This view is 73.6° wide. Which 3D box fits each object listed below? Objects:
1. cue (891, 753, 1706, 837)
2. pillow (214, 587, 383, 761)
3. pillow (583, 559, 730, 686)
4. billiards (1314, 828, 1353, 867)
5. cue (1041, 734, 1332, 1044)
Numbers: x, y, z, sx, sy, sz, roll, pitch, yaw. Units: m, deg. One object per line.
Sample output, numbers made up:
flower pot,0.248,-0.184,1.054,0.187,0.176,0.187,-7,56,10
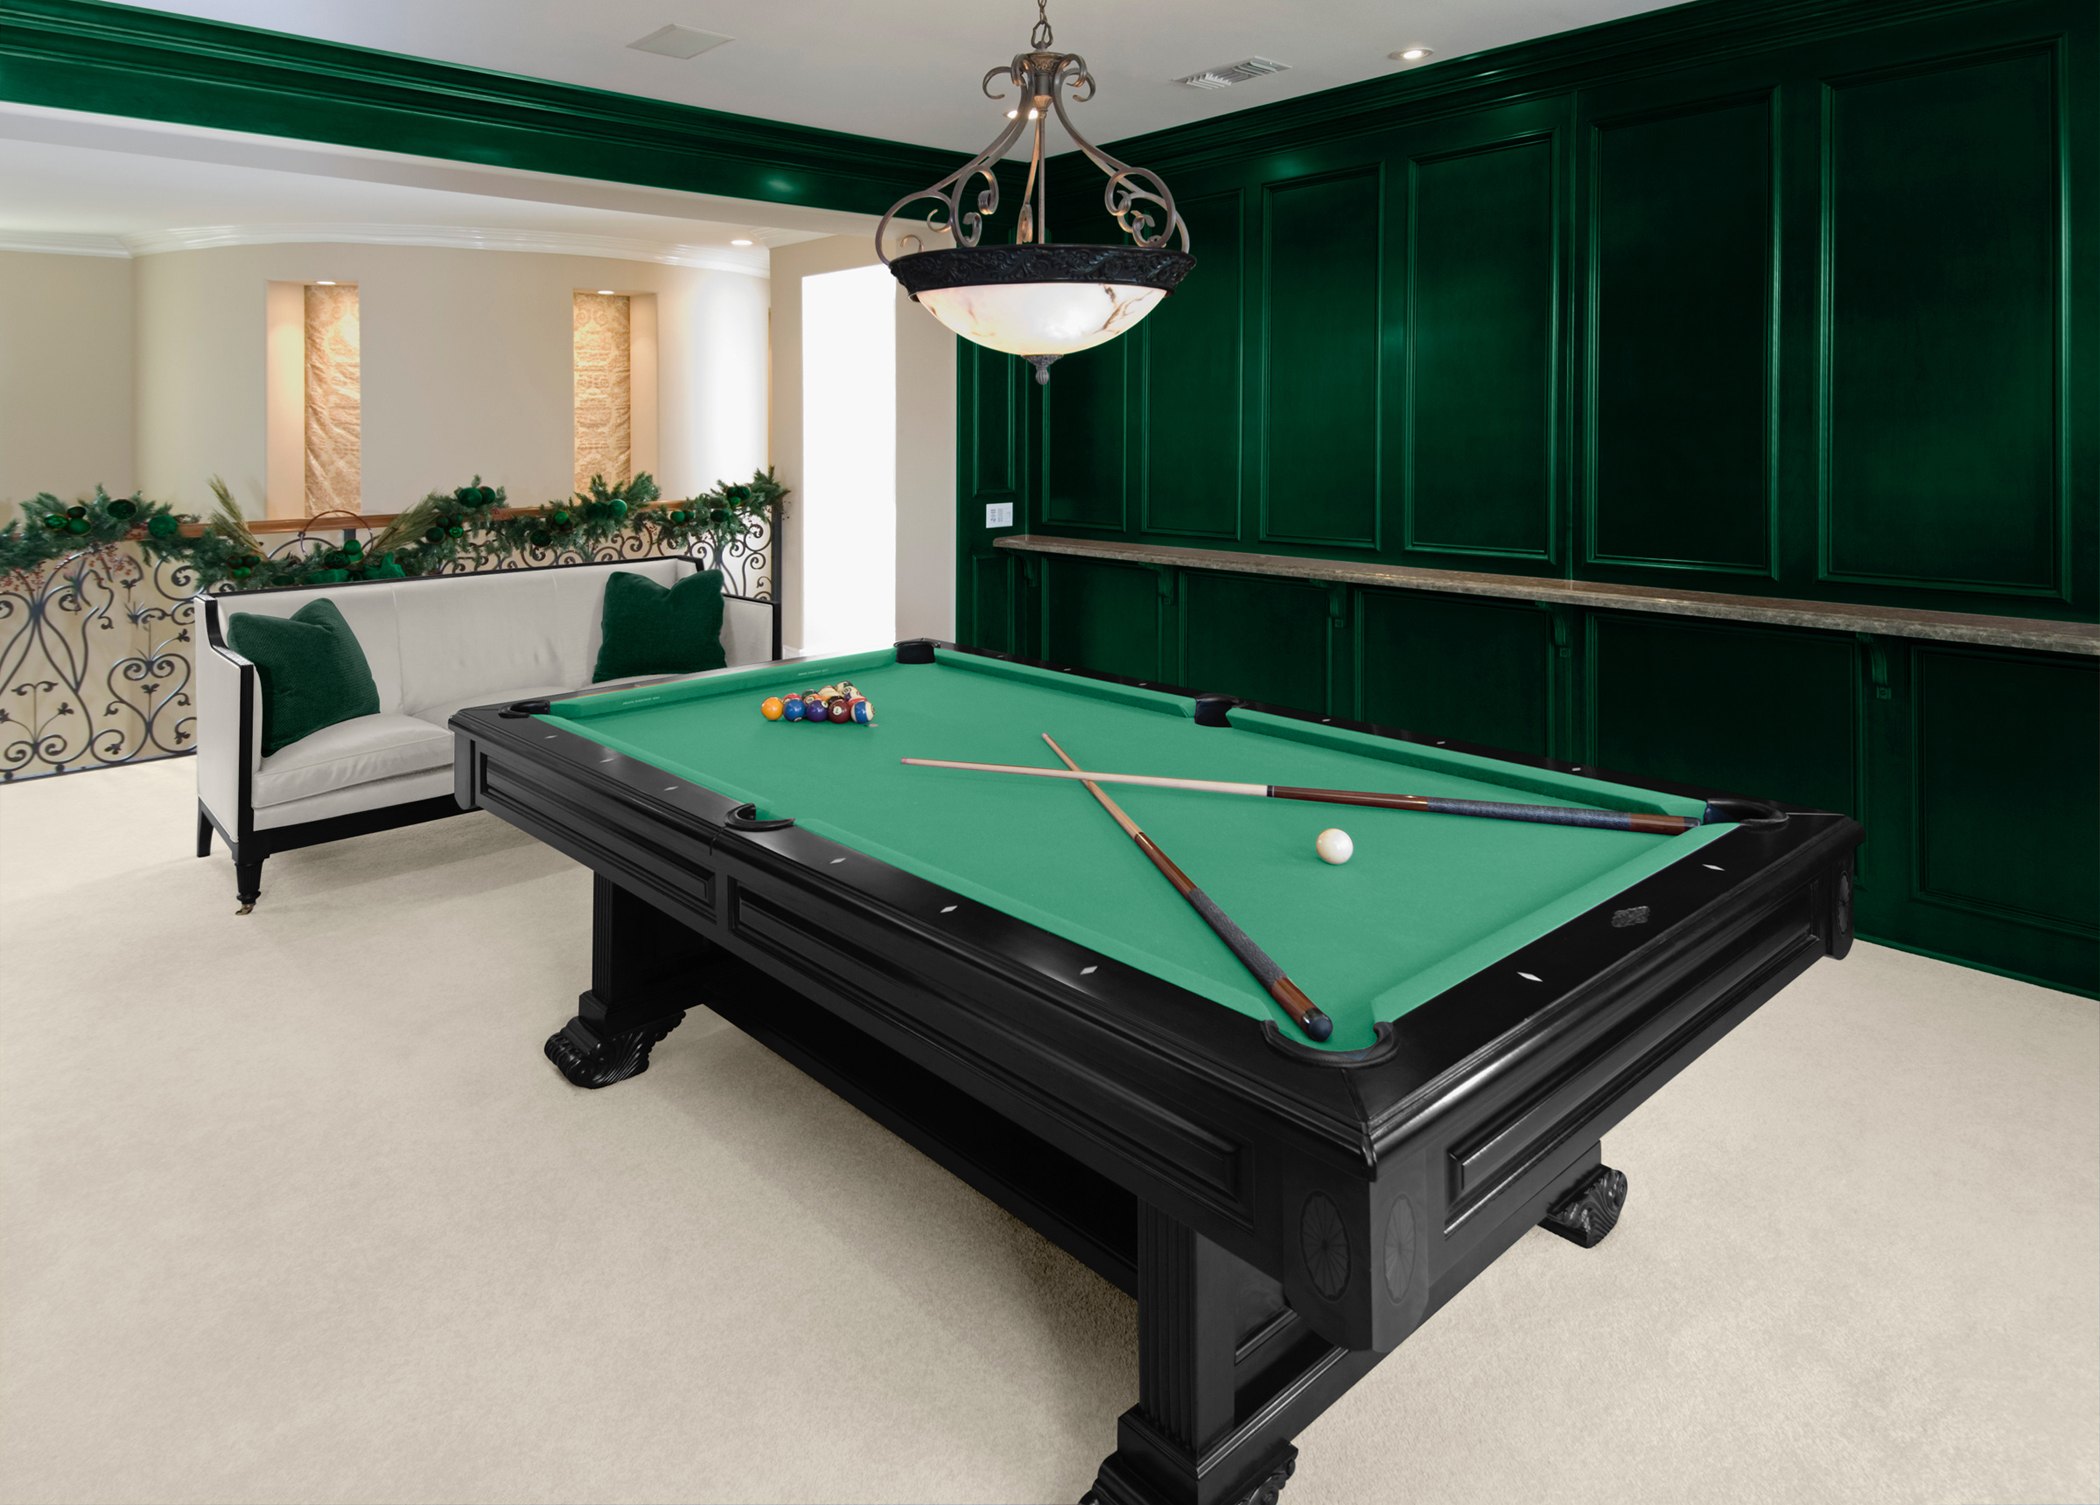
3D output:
cue,0.539,0.102,3.147,1.097,0.051,0.115,3,11,7
pillow,-2.691,-0.256,5.049,0.383,0.486,0.548,-3,14,-34
pillow,-1.707,-0.561,6.131,0.581,0.529,0.392,-1,6,-16
billiards,0.576,0.191,2.851,0.075,0.069,0.071,0,3,-8
cue,0.279,0.273,2.767,0.084,0.129,1.106,-8,17,-16
